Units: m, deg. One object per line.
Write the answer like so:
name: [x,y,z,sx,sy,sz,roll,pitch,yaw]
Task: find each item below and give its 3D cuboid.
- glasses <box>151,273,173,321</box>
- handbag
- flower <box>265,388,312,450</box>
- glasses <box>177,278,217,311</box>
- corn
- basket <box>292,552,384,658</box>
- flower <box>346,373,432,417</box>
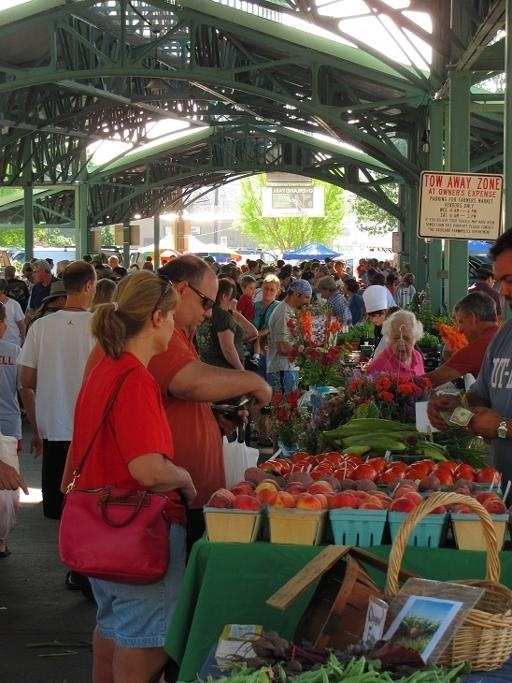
glasses: [-0.303,-0.151,1.975,0.036,0.102,0.110,5,-3,-15]
handbag: [-0.404,0.569,1.814,0.324,0.258,0.119,3,-7,9]
flower: [0.241,0.572,4.475,0.348,0.392,0.295,1,9,9]
glasses: [-0.251,-0.196,2.445,0.037,0.123,0.123,-47,-20,6]
corn: [0.666,0.461,3.220,0.488,0.183,0.324,-2,9,-5]
basket: [0.182,0.604,1.423,0.178,0.202,0.194,14,-34,-3]
flower: [0.780,0.317,3.754,0.484,0.217,0.535,2,9,13]
